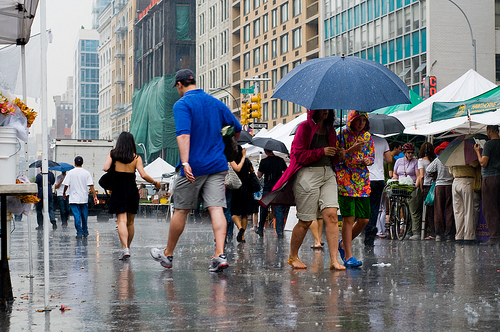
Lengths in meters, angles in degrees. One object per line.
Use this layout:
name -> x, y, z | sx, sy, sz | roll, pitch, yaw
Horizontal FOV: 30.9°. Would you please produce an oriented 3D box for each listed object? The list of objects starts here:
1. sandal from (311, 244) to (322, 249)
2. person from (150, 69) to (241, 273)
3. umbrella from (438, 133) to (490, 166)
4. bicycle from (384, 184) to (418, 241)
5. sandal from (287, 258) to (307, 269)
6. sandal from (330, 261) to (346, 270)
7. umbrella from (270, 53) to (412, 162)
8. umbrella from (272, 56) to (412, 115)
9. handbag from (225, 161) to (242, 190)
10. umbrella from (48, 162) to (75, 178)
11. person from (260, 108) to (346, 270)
sandal -> 1.368, 1.675, 18.731 | 0.224, 0.108, 0.281 | -1, -10, 5
person -> -0.810, -0.016, 15.169 | 1.104, 3.593, 1.007 | 1, -10, -6
umbrella -> 4.864, -0.404, 20.731 | 0.855, 0.991, 1.640 | -4, -11, 22
bicycle -> 3.469, 1.115, 21.250 | 0.583, 1.337, 1.157 | 4, -11, -18
sandal -> 0.788, 1.678, 15.482 | 0.245, 0.195, 0.444 | 6, -12, -30
sandal -> 1.459, 1.671, 15.170 | 0.281, 0.159, 0.149 | -3, -11, 18
umbrella -> 1.585, -0.940, 15.465 | 2.145, 1.853, 2.247 | 4, 18, -6
umbrella -> 1.524, -1.359, 14.742 | 1.337, 0.445, 1.341 | 11, 17, 35
handbag -> -0.375, 0.196, 19.349 | 0.228, 0.606, 0.525 | -11, -15, 32
umbrella -> -6.603, 0.044, 32.003 | 0.717, 0.452, 0.702 | 1, 6, 0
person -> 0.995, 0.339, 15.070 | 1.203, 2.742, 1.123 | -3, -11, 15
